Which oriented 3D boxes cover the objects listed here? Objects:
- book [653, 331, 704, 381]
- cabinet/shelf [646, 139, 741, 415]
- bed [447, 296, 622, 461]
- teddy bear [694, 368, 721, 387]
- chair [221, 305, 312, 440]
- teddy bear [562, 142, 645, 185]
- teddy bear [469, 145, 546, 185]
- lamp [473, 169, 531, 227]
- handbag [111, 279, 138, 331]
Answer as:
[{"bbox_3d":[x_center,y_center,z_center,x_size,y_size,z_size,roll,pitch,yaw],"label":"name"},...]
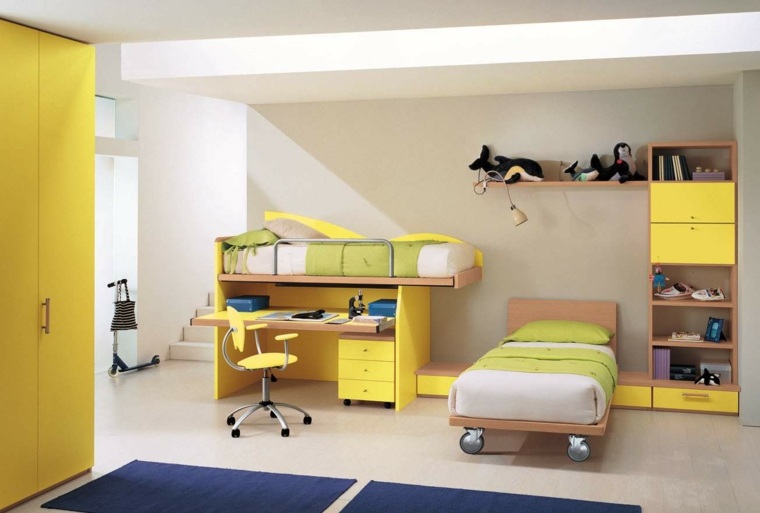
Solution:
[{"bbox_3d":[3.072,1.030,6.371,0.500,0.460,0.276,0,1,12],"label":"book"},{"bbox_3d":[3.219,0.164,6.380,0.910,2.695,0.611,1,6,31],"label":"cabinet/shelf"},{"bbox_3d":[1.620,1.061,5.963,1.304,1.023,2.156,-1,4,24],"label":"bed"},{"bbox_3d":[3.278,1.212,6.213,0.219,0.144,0.147,-2,3,33],"label":"teddy bear"},{"bbox_3d":[-1.093,1.078,5.967,0.878,1.102,0.837,1,-2,-23],"label":"chair"},{"bbox_3d":[2.407,-0.959,6.623,0.547,0.399,0.843,-16,8,-38],"label":"teddy bear"},{"bbox_3d":[1.410,-0.966,6.814,0.800,0.370,0.341,10,17,32],"label":"teddy bear"},{"bbox_3d":[1.344,-0.620,6.859,0.250,0.573,0.776,-29,51,-32],"label":"lamp"},{"bbox_3d":[-3.206,0.626,7.736,0.321,0.679,0.448,-3,7,-23],"label":"handbag"}]
